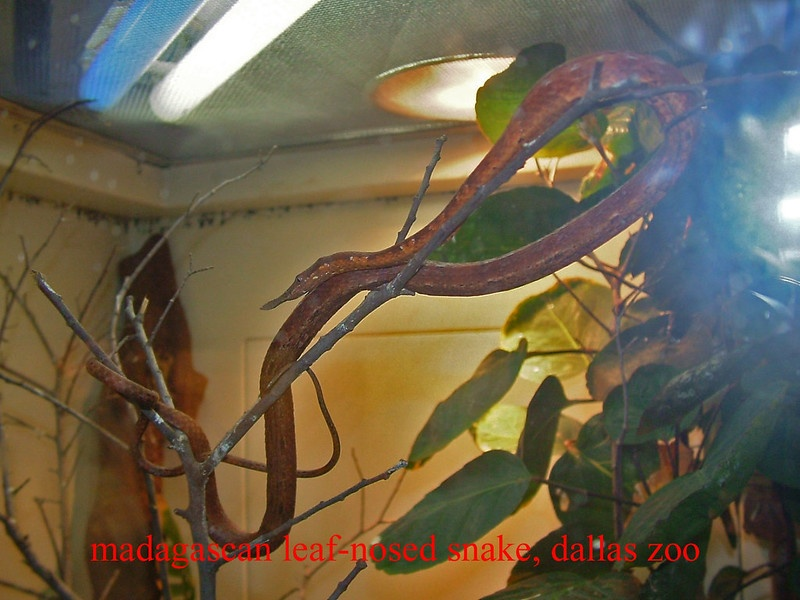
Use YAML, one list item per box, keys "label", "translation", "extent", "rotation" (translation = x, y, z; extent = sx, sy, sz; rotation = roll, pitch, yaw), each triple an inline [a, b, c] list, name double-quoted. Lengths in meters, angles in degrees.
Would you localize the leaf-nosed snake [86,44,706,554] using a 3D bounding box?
- label: "leaf-nosed snake"
  translation: [0.008, 0.226, 1.629]
  extent: [1.602, 0.651, 0.325]
  rotation: [-35, -54, 10]
